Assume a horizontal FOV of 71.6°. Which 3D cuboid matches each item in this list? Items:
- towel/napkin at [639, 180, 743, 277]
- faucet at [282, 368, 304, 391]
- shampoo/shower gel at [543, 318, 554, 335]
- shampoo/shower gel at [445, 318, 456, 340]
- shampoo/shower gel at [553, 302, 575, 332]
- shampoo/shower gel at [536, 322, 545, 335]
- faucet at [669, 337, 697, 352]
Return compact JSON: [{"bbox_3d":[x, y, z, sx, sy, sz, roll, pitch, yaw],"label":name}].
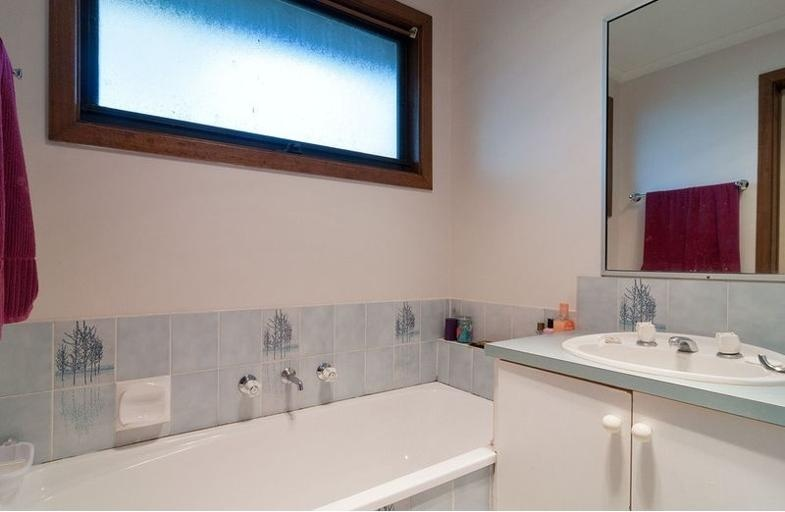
[{"bbox_3d":[1.415,-0.131,2.542,0.432,0.457,0.048,2,2,39],"label":"towel/napkin"},{"bbox_3d":[-0.536,0.648,2.946,0.104,0.060,0.126,7,6,-37],"label":"faucet"},{"bbox_3d":[0.843,0.374,2.933,0.066,0.078,0.070,0,3,-22],"label":"shampoo/shower gel"},{"bbox_3d":[0.369,0.454,3.431,0.103,0.136,0.057,-4,-1,22],"label":"shampoo/shower gel"},{"bbox_3d":[0.906,0.316,2.870,0.117,0.155,0.085,-4,-1,0],"label":"shampoo/shower gel"},{"bbox_3d":[0.803,0.395,2.991,0.052,0.089,0.055,1,-2,6],"label":"shampoo/shower gel"},{"bbox_3d":[1.241,0.373,2.329,0.109,0.048,0.052,5,-2,-31],"label":"faucet"}]
